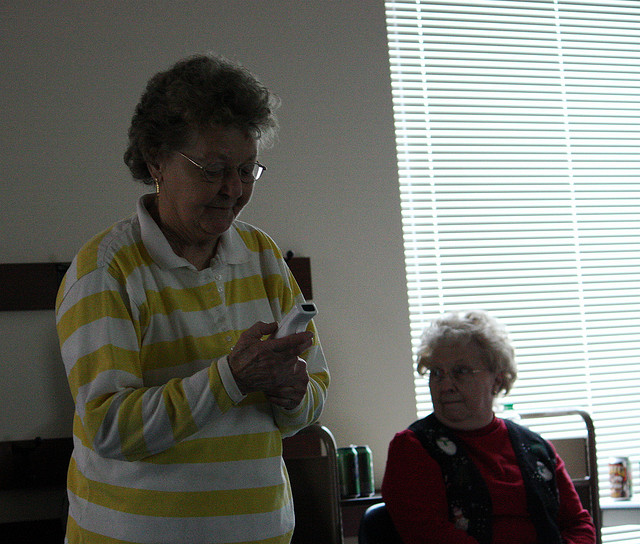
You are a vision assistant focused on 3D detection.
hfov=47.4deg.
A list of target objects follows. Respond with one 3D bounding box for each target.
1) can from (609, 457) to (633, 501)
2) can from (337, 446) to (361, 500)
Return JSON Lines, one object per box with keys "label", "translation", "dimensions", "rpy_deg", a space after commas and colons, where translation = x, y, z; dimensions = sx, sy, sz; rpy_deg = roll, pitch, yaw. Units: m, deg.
{"label": "can", "translation": [1.402, 0.959, 3.406], "dimensions": [0.094, 0.191, 0.073], "rpy_deg": [-5, -7, 20]}
{"label": "can", "translation": [0.149, 0.912, 3.328], "dimensions": [0.135, 0.226, 0.132], "rpy_deg": [-3, -10, -1]}
